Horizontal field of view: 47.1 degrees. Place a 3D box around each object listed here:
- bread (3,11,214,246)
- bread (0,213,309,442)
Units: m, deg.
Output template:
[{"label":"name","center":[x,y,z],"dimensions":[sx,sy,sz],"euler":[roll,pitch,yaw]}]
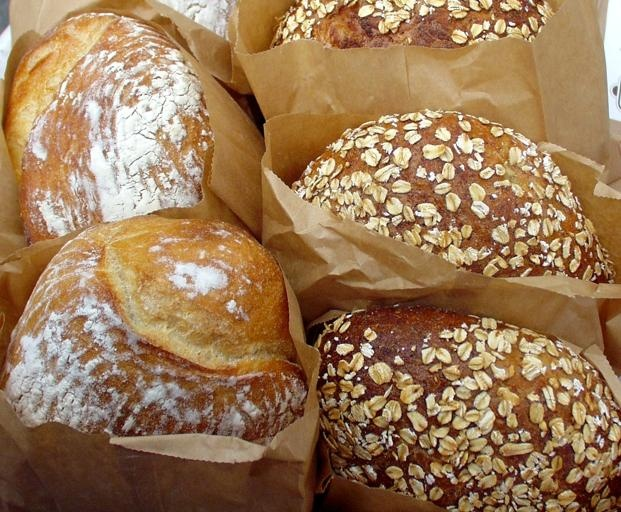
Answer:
[{"label":"bread","center":[-0.339,-0.218,1.165],"dimensions":[0.344,0.178,0.357],"euler":[-19,50,-4]},{"label":"bread","center":[-0.212,0.118,1.005],"dimensions":[0.394,0.223,0.270],"euler":[-7,49,6]}]
